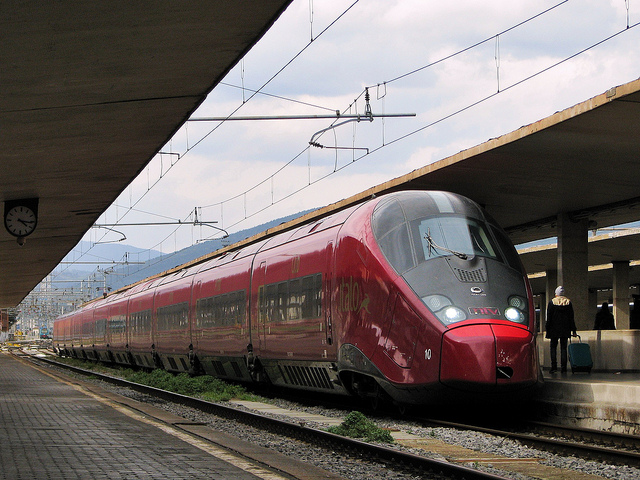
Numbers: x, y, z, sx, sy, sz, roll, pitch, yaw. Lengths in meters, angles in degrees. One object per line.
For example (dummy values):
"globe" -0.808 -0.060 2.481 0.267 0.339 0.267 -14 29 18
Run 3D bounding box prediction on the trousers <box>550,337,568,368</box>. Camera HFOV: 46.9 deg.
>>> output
"trousers" 5.779 2.590 17.863 0.409 1.367 0.344 -5 36 11

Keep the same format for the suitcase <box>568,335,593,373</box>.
"suitcase" 6.180 2.688 17.678 0.551 1.039 0.354 0 -32 4

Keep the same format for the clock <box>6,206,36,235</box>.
"clock" -7.661 -0.509 18.912 0.665 0.666 0.088 -22 -14 -34

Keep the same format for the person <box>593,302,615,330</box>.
"person" 8.878 2.366 22.982 0.531 0.951 1.761 4 2 20
